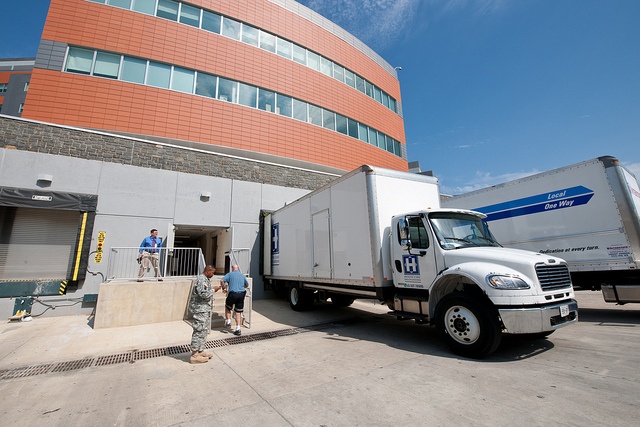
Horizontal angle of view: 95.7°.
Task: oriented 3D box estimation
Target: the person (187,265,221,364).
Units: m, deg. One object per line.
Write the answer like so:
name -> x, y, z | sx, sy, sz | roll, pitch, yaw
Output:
person -> -3.080, 2.592, 7.542 | 0.501, 1.539, 0.653 | -3, -1, 5

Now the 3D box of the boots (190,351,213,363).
boots -> -3.003, 3.608, 7.391 | 0.552, 0.359, 0.227 | -1, -2, -13

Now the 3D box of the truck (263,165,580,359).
truck -> 2.304, 1.666, 11.537 | 4.879, 5.216, 11.311 | 7, -14, -36

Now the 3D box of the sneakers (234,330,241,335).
sneakers -> -2.706, 3.835, 9.473 | 0.220, 0.198, 0.269 | -3, 0, -16

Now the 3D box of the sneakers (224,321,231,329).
sneakers -> -3.218, 3.828, 9.996 | 0.135, 0.235, 0.362 | 1, -1, -21

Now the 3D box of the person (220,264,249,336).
person -> -2.955, 2.901, 10.023 | 0.794, 1.597, 1.400 | -3, -1, -15
